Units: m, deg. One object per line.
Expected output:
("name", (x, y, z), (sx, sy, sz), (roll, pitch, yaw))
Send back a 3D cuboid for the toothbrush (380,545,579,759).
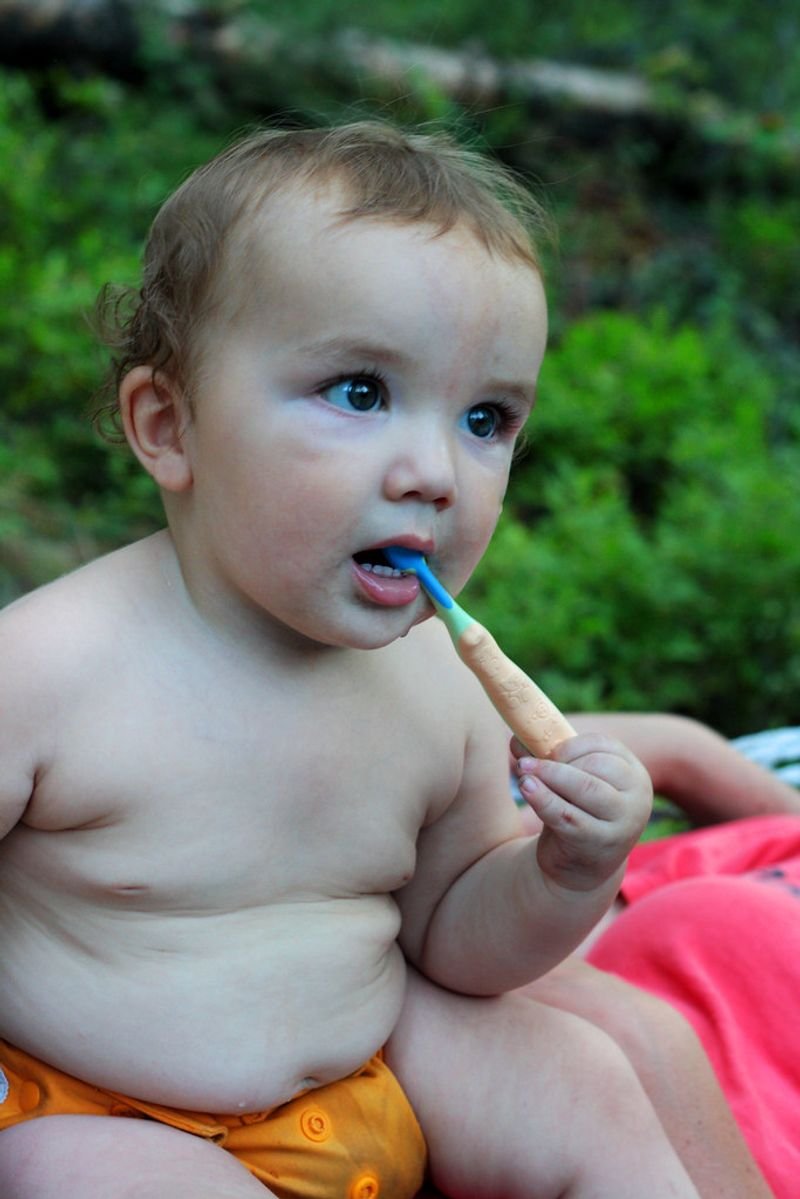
("toothbrush", (0.078, 0.050, 1.296), (0.058, 0.297, 0.043), (-47, 27, -16))
